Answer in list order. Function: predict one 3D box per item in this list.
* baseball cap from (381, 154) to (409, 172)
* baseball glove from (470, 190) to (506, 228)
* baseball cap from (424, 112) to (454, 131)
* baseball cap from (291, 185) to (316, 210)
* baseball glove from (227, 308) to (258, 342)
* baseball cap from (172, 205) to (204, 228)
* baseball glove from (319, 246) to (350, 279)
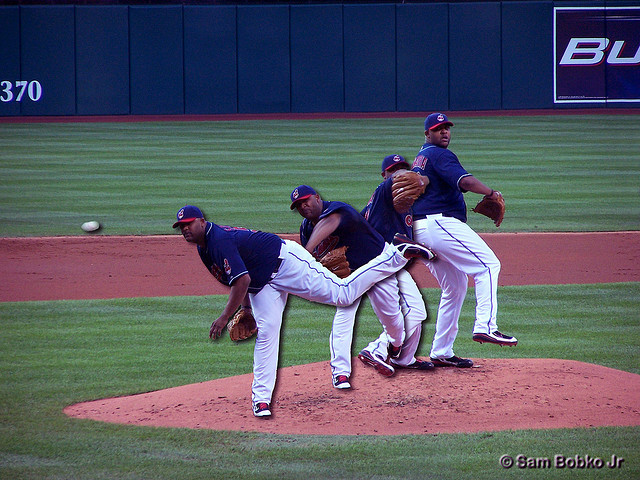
[{"bbox_3d":[0.877,-0.942,12.783,0.222,0.127,0.276,-4,3,-23],"label":"baseball cap"},{"bbox_3d":[2.101,-0.421,12.884,0.436,0.439,0.165,6,-22,11],"label":"baseball glove"},{"bbox_3d":[1.403,-1.439,12.909,0.278,0.152,0.325,-6,6,-17],"label":"baseball cap"},{"bbox_3d":[-0.230,-0.499,12.183,0.229,0.165,0.334,-25,-1,42],"label":"baseball cap"},{"bbox_3d":[-0.917,0.951,12.370,0.351,0.391,0.163,30,3,-18],"label":"baseball glove"},{"bbox_3d":[-1.428,-0.280,11.873,0.352,0.162,0.231,-19,2,-36],"label":"baseball cap"},{"bbox_3d":[0.213,0.251,12.432,0.441,0.353,0.152,-15,-35,5],"label":"baseball glove"}]
